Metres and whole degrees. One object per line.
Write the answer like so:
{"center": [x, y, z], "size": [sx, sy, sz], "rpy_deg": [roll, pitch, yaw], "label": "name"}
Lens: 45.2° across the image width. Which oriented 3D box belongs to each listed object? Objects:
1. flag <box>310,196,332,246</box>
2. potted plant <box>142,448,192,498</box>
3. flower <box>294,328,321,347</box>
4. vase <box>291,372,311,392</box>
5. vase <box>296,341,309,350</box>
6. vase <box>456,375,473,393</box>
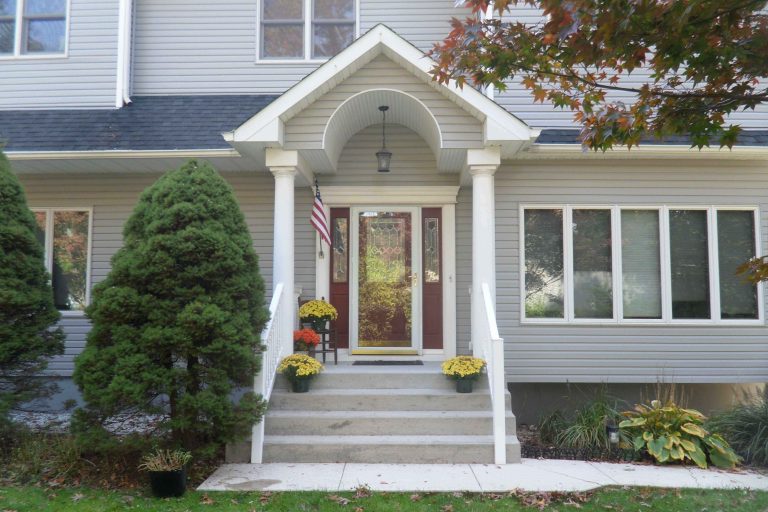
{"center": [-1.050, -0.612, 15.716], "size": [0.313, 0.779, 0.701], "rpy_deg": [0, -3, -3], "label": "flag"}
{"center": [-2.996, 3.023, 12.848], "size": [0.631, 0.618, 0.429], "rpy_deg": [0, -4, -9], "label": "potted plant"}
{"center": [-1.239, 1.309, 15.083], "size": [0.337, 0.183, 0.293], "rpy_deg": [12, 1, 35], "label": "flower"}
{"center": [-1.262, 1.976, 14.387], "size": [0.287, 0.196, 0.278], "rpy_deg": [1, -6, 10], "label": "vase"}
{"center": [-1.342, 1.470, 15.093], "size": [0.173, 0.157, 0.286], "rpy_deg": [1, -4, -26], "label": "vase"}
{"center": [1.270, 1.998, 14.378], "size": [0.264, 0.238, 0.253], "rpy_deg": [1, 0, 9], "label": "vase"}
